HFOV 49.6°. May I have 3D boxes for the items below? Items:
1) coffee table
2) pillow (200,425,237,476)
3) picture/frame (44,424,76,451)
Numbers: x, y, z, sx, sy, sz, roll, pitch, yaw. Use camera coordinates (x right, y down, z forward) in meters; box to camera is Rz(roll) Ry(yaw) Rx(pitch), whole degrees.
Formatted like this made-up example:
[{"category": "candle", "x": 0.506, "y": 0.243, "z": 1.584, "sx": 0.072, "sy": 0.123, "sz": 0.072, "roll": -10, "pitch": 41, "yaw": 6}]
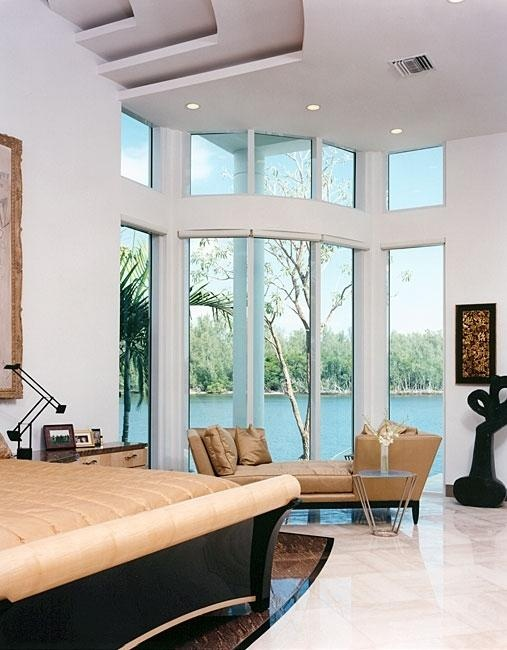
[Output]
[{"category": "coffee table", "x": 1.077, "y": 1.436, "z": 4.516, "sx": 0.572, "sy": 0.519, "sz": 0.500, "roll": 0, "pitch": -2, "yaw": 0}, {"category": "pillow", "x": -0.296, "y": 1.069, "z": 4.630, "sx": 0.228, "sy": 0.392, "sz": 0.597, "roll": -4, "pitch": 3, "yaw": -5}, {"category": "picture/frame", "x": -1.490, "y": 0.866, "z": 4.215, "sx": 0.022, "sy": 0.162, "sz": 0.205, "roll": -27, "pitch": -22, "yaw": 32}]
